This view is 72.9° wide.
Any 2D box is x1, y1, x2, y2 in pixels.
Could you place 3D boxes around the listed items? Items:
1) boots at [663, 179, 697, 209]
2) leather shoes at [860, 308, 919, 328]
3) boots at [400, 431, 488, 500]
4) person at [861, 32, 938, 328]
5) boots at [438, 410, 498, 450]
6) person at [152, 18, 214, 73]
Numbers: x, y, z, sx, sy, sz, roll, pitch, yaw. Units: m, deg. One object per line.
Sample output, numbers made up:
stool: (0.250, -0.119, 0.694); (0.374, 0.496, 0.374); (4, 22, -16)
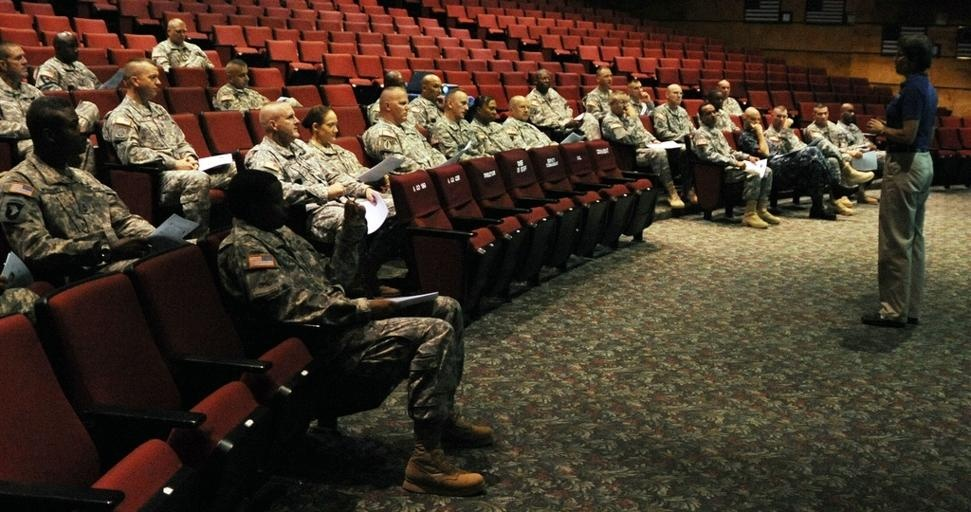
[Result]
boots: (2.262, -0.675, 7.689); (0.222, 0.225, 0.617); (-7, 0, 0)
leather shoes: (2.843, 0.447, 4.723); (0.437, 0.115, 0.138); (3, 5, 15)
boots: (-0.123, 1.055, 3.259); (0.619, 0.301, 0.192); (1, 5, -1)
person: (2.852, -0.482, 4.543); (0.447, 1.992, 0.690); (4, 26, 27)
boots: (-0.180, 0.935, 3.501); (0.458, 0.142, 0.173); (6, -11, -29)
person: (-3.391, -2.305, 7.303); (0.484, 0.516, 0.713); (23, 28, 8)
